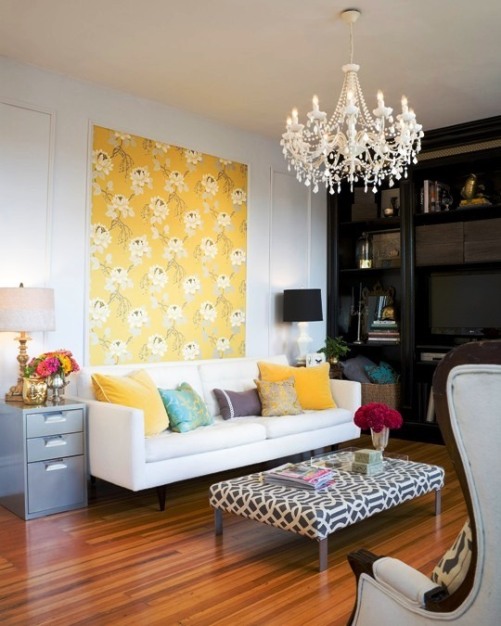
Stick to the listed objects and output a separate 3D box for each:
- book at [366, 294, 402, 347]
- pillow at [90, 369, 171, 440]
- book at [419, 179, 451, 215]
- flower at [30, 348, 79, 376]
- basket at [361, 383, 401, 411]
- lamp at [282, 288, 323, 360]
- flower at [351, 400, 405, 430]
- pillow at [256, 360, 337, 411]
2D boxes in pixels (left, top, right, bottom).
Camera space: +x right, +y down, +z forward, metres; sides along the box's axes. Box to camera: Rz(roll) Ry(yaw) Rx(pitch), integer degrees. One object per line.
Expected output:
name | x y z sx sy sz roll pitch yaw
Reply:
book | 1.456 0.088 5.496 0.065 0.711 0.521 12 -14 -37
pillow | -0.747 0.601 3.386 0.322 0.435 0.514 -6 -3 20
book | 1.840 -1.163 5.102 0.147 0.370 0.425 -3 -2 42
flower | -1.231 0.317 3.144 0.211 0.145 0.207 2 6 24
basket | 1.320 0.831 5.210 0.400 0.244 0.392 1 2 25
lamp | 0.477 0.144 5.134 0.392 0.761 0.541 1 -3 -11
flower | 0.738 0.594 2.951 0.200 0.123 0.200 -1 -3 12
pillow | 0.466 0.681 4.341 0.769 0.523 0.262 7 -32 -43
